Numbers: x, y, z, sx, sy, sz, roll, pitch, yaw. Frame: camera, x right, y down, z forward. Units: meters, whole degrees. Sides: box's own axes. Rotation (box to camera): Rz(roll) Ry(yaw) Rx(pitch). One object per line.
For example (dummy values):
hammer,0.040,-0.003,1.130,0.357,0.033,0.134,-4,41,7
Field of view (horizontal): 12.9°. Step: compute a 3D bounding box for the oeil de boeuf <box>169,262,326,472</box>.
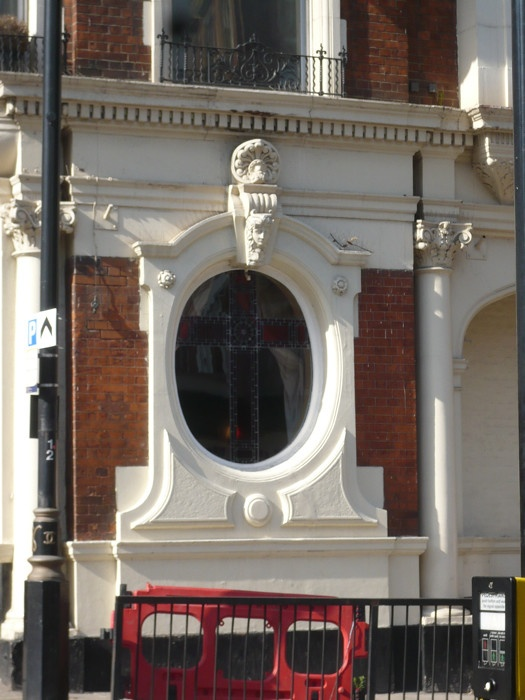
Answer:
oeil de boeuf,-0.192,0.129,22.492,1.345,2.275,0.081,2,-36,-4
